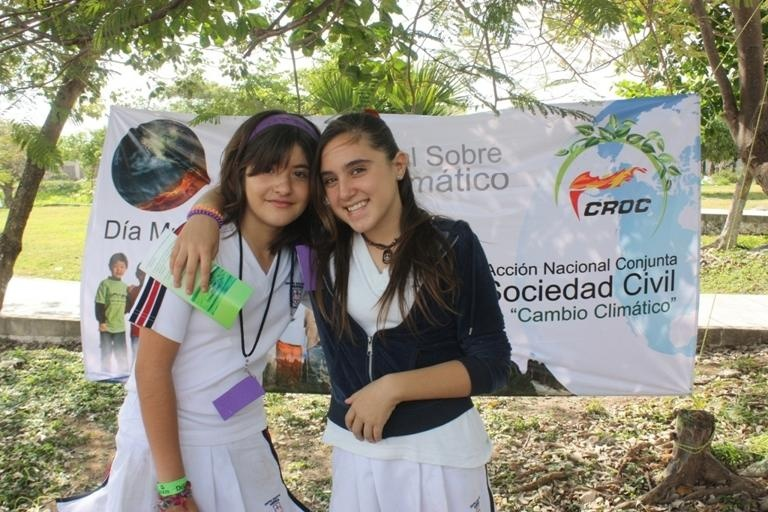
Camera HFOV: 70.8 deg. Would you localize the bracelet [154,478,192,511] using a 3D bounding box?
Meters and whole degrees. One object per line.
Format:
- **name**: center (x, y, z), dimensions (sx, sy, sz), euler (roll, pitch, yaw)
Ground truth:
- **bracelet**: center (-1.168, 1.316, 2.992), dimensions (0.179, 0.135, 0.178), euler (1, -8, -20)
